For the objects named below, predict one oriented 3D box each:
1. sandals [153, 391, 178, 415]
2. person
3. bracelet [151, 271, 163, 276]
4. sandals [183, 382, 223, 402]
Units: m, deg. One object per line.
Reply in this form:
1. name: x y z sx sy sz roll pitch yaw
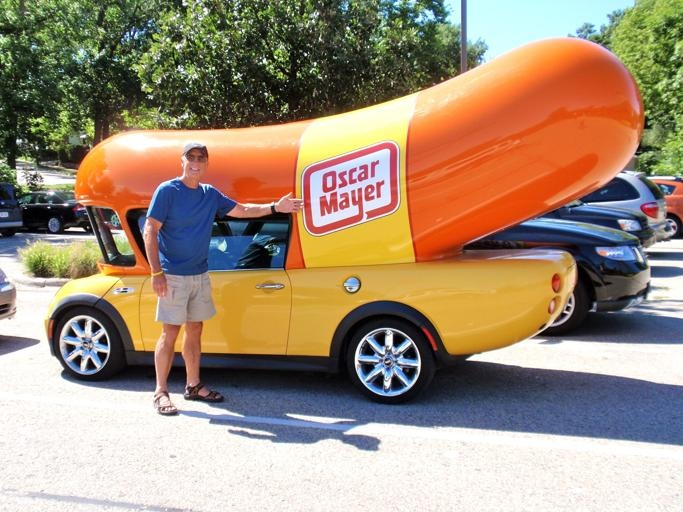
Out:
1. sandals: -1.560 1.313 4.641 0.124 0.114 0.308 1 -3 -27
2. person: -1.225 0.183 4.728 1.073 2.372 0.430 -4 9 -18
3. bracelet: -1.592 0.143 4.504 0.088 0.046 0.081 -3 8 -16
4. sandals: -1.307 1.284 4.958 0.365 0.123 0.162 1 4 5
